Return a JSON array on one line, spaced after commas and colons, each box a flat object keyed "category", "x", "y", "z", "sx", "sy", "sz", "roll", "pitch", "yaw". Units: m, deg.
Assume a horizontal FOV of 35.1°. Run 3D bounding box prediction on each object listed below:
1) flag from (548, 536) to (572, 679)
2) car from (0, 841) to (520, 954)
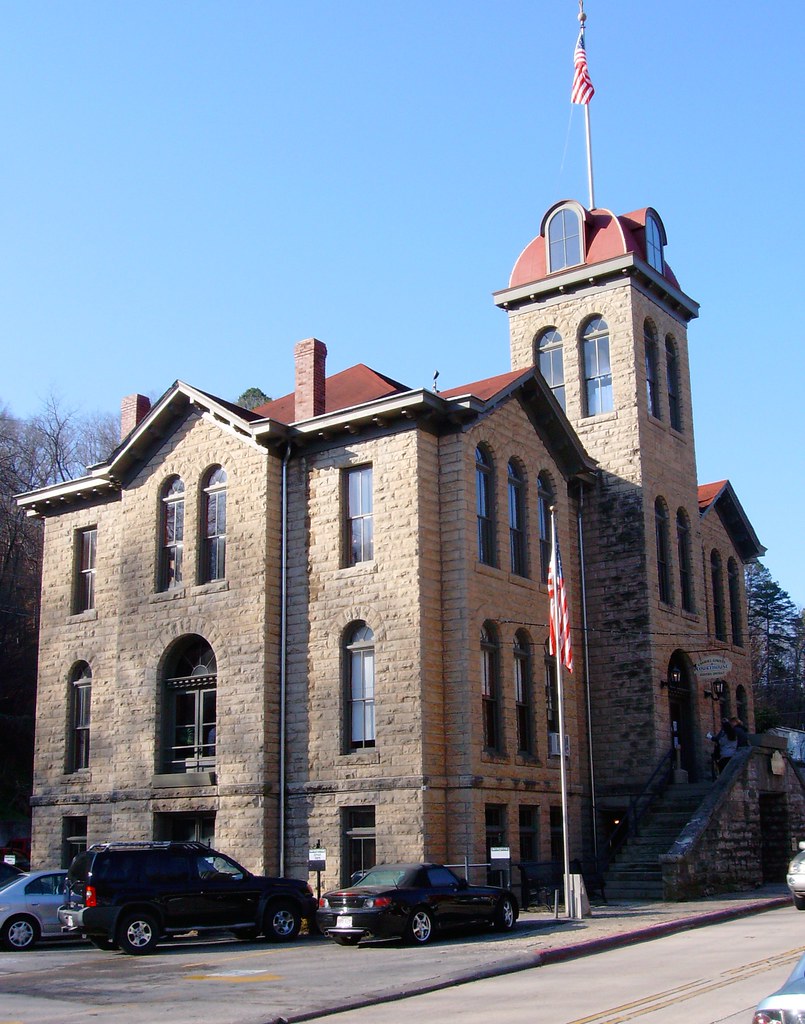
[{"category": "flag", "x": 2.854, "y": 1.825, "z": 23.654, "sx": 0.550, "sy": 2.547, "sz": 0.219, "roll": 7, "pitch": -16, "yaw": -21}, {"category": "car", "x": -2.597, "y": 5.987, "z": 19.878, "sx": 7.677, "sy": 1.623, "sz": 2.242, "roll": -1, "pitch": -17, "yaw": 0}]
